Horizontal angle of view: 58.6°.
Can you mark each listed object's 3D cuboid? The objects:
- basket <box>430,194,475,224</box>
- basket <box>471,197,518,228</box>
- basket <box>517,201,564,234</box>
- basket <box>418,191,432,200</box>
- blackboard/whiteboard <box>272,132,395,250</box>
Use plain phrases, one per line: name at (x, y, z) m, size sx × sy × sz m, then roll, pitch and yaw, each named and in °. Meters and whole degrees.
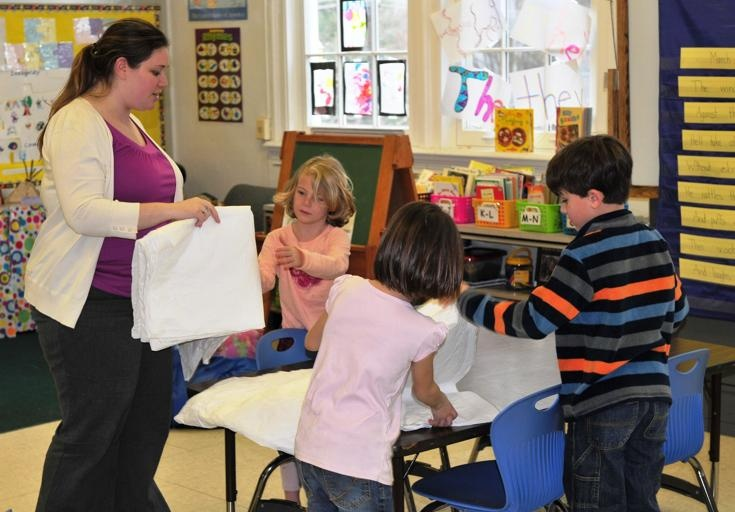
basket at (0.513, -0.324, 3.967) m, size 0.210 × 0.179 × 0.280 m, roll -8°, pitch 10°, yaw -43°
basket at (0.731, -0.264, 3.816) m, size 0.212 × 0.135 × 0.157 m, roll 1°, pitch 3°, yaw 31°
basket at (0.967, -0.218, 3.695) m, size 0.206 × 0.131 × 0.149 m, roll 2°, pitch 4°, yaw 39°
basket at (0.353, -0.382, 4.081) m, size 0.070 × 0.045 × 0.072 m, roll 7°, pitch 9°, yaw 42°
blackboard/whiteboard at (-0.149, -0.326, 3.323) m, size 0.641 × 0.762 × 0.271 m, roll 7°, pitch 1°, yaw 34°
